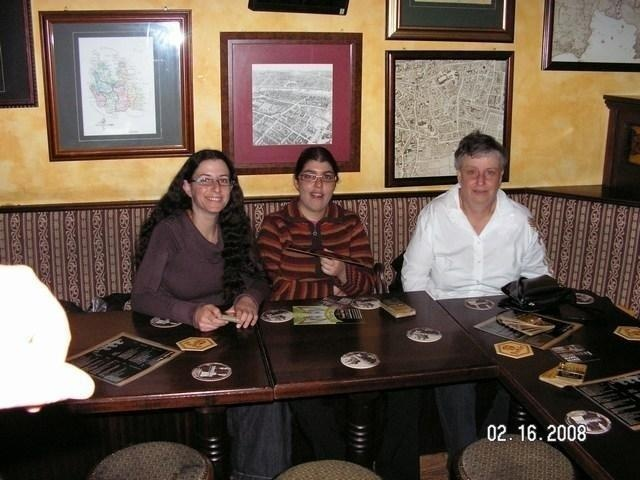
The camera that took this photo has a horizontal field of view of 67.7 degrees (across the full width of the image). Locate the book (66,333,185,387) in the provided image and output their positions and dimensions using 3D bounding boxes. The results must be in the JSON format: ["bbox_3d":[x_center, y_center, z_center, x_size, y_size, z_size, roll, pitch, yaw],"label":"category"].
[{"bbox_3d":[-0.812,0.489,1.979,0.364,0.031,0.309,6,17,30],"label":"book"}]

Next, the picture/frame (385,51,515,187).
[{"bbox_3d":[0.977,-0.992,3.744,1.260,1.179,0.045,-2,11,-6],"label":"picture/frame"}]

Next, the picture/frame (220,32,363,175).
[{"bbox_3d":[-0.263,-1.084,3.647,1.275,1.148,0.065,-1,10,-9],"label":"picture/frame"}]

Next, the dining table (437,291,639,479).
[{"bbox_3d":[0.931,0.601,2.035,0.658,0.232,1.001,-5,22,-10],"label":"dining table"}]

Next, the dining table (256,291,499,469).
[{"bbox_3d":[0.227,0.840,2.471,0.980,0.891,0.948,-3,19,-11],"label":"dining table"}]

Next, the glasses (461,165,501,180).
[{"bbox_3d":[1.008,-0.417,2.969,0.228,0.067,0.098,1,15,12],"label":"glasses"}]
